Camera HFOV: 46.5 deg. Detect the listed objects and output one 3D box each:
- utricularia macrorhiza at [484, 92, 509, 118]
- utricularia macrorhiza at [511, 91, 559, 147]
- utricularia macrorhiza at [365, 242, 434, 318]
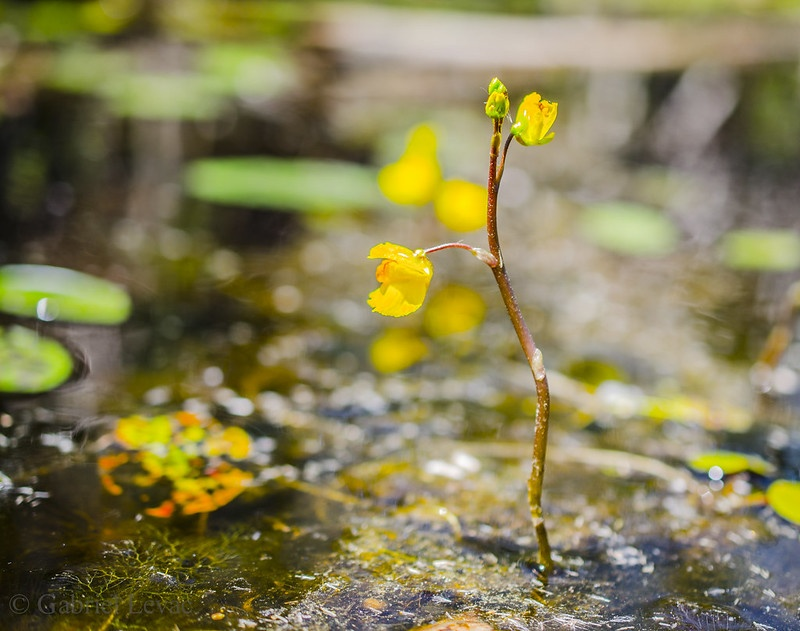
[{"bbox_3d":[0.123,-0.263,1.167,0.027,0.012,0.029,0,99,-5],"label":"utricularia macrorhiza"},{"bbox_3d":[0.156,-0.243,1.180,0.069,0.064,0.060,14,104,21],"label":"utricularia macrorhiza"},{"bbox_3d":[-0.015,-0.042,1.206,0.040,0.112,0.096,-39,80,-23],"label":"utricularia macrorhiza"}]
